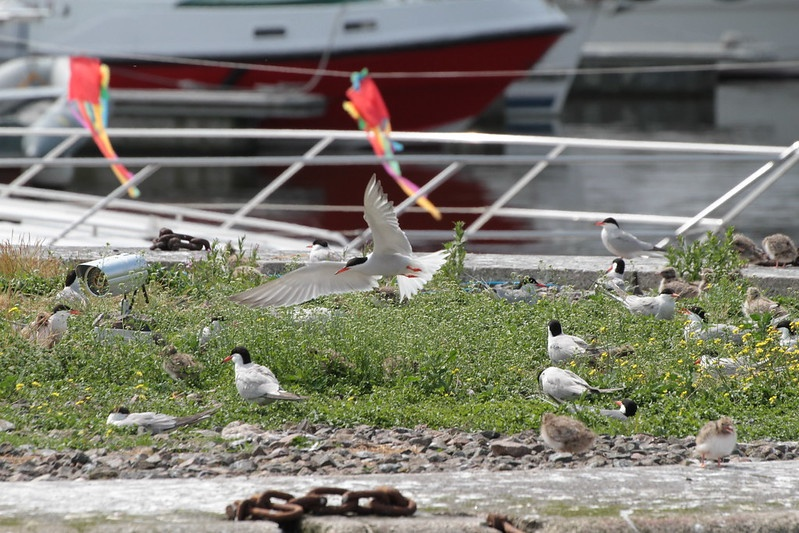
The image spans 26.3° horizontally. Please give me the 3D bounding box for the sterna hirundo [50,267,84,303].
[{"bbox_3d":[-6.177,0.372,32.087,0.415,0.627,0.714,-5,5,-40],"label":"sterna hirundo"}]

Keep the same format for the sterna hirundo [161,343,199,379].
[{"bbox_3d":[-3.919,1.732,31.000,1.022,0.647,0.559,4,13,-9],"label":"sterna hirundo"}]

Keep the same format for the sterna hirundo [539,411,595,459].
[{"bbox_3d":[2.871,2.884,29.544,1.015,0.632,0.579,-5,-2,8],"label":"sterna hirundo"}]

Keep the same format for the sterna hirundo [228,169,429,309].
[{"bbox_3d":[-0.895,-0.476,31.170,3.505,2.341,1.329,-1,4,-3],"label":"sterna hirundo"}]

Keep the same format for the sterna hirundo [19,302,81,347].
[{"bbox_3d":[-6.411,1.109,31.301,1.034,0.603,0.544,-2,12,4],"label":"sterna hirundo"}]

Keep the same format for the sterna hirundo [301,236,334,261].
[{"bbox_3d":[-1.572,-0.315,33.658,0.376,0.354,0.526,-7,0,-25],"label":"sterna hirundo"}]

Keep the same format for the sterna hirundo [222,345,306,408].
[{"bbox_3d":[-2.514,1.942,30.376,1.408,1.009,0.453,1,5,24],"label":"sterna hirundo"}]

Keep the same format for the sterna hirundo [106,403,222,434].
[{"bbox_3d":[-4.301,2.708,30.034,2.565,0.517,1.305,2,-1,1],"label":"sterna hirundo"}]
